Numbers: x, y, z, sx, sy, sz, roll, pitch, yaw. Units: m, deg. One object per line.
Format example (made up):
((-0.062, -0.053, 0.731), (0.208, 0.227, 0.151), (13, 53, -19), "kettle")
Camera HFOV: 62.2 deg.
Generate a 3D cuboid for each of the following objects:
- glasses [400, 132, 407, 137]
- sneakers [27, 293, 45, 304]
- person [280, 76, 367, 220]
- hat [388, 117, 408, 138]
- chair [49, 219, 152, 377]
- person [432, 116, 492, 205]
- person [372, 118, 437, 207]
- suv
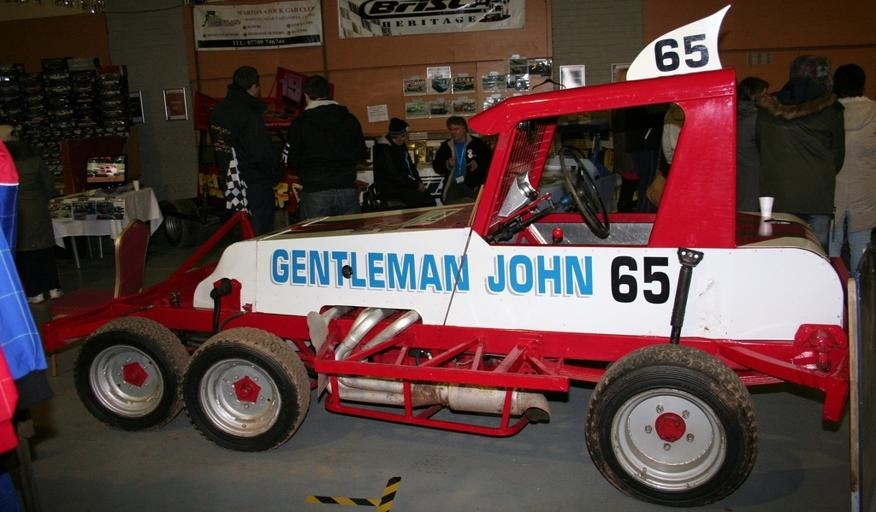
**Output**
((-0.486, -1.734, 10.311), (0.095, 0.097, 0.171), (2, 3, -1), "glasses")
((-5.234, 0.559, 9.474), (0.212, 0.098, 0.088), (1, 5, 0), "sneakers")
((-1.303, -0.943, 8.748), (0.869, 2.452, 0.758), (-8, 31, -18), "person")
((-0.547, -1.822, 10.265), (0.211, 0.201, 0.311), (11, 41, 31), "hat")
((-3.559, 0.382, 7.601), (0.971, 1.591, 0.980), (6, 9, 19), "chair")
((0.351, -1.070, 10.502), (0.793, 1.790, 0.540), (0, -6, 7), "person")
((-0.490, -1.331, 10.447), (0.867, 1.287, 0.711), (1, 2, 19), "person")
((0.515, -0.541, 7.238), (7.087, 3.873, 3.542), (4, 18, 11), "suv")
